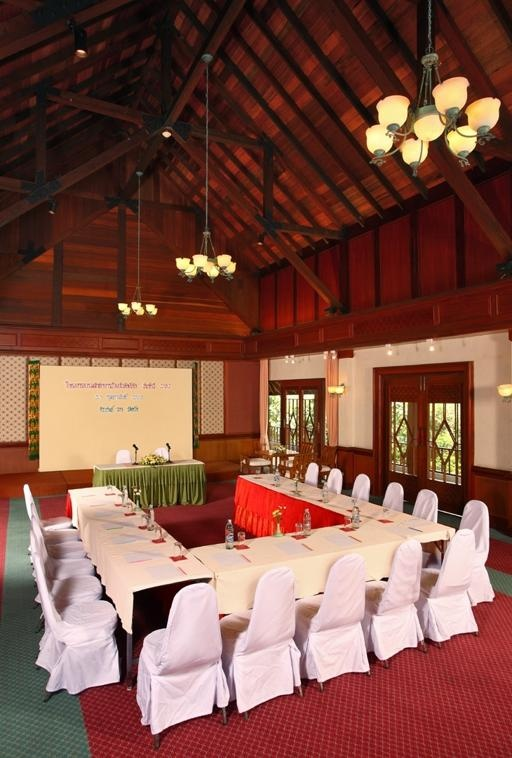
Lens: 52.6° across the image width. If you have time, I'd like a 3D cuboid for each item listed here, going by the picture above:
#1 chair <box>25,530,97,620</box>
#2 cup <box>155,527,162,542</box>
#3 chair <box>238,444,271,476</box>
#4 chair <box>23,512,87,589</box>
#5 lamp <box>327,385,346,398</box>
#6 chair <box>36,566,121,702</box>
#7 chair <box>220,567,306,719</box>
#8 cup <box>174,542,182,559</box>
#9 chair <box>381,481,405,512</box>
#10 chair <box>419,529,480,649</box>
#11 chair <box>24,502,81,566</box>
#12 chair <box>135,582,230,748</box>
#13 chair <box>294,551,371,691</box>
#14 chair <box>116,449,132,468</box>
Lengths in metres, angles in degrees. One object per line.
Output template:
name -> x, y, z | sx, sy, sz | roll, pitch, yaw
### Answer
chair -> -1.449, 1.483, 3.890 | 0.254, 0.338, 0.775 | -6, 7, -21
cup -> -0.771, 1.237, 4.094 | 0.043, 0.049, 0.048 | -3, 4, -32
chair -> 0.009, 1.730, 10.933 | 0.568, 0.883, 0.483 | 3, -4, -34
chair -> -1.687, 1.473, 4.402 | 0.262, 0.320, 0.771 | -9, 8, -21
lamp -> 1.486, 0.224, 9.755 | 0.189, 0.297, 0.279 | 6, -5, -37
chair -> -1.102, 1.516, 3.215 | 0.456, 0.683, 0.440 | 0, -1, -26
chair -> 0.008, 1.435, 2.929 | 0.475, 0.807, 0.476 | 0, -1, 4
cup -> -0.541, 1.192, 3.571 | 0.055, 0.111, 0.056 | 1, -4, 0
chair -> 1.399, 1.206, 5.306 | 0.130, 0.252, 0.293 | 0, -2, -16
chair -> 1.346, 1.445, 3.683 | 0.396, 0.849, 0.600 | -1, -1, 23
chair -> -1.950, 1.497, 4.977 | 0.315, 0.544, 0.812 | -9, 3, -20
chair -> -0.376, 1.428, 2.702 | 0.492, 0.805, 0.421 | 0, -1, -8
chair -> 0.426, 1.446, 3.228 | 0.414, 0.815, 0.504 | 1, -2, -37
chair -> -2.026, 1.208, 7.952 | 0.230, 0.216, 0.448 | 0, -2, -17
